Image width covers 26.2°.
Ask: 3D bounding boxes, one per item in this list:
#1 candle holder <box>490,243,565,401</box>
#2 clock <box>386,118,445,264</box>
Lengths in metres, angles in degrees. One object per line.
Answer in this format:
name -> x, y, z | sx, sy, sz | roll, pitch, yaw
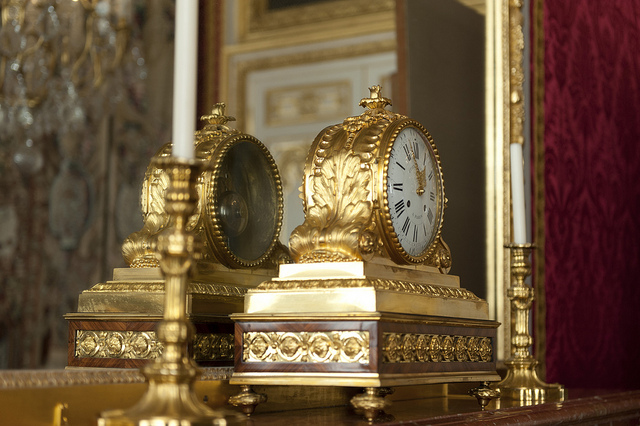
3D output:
candle holder -> 0.474, 0.254, 3.268 | 0.155, 0.394, 0.159 | 1, -2, -13
clock -> 0.198, -0.037, 2.928 | 0.042, 0.359, 0.303 | -5, -4, 29
